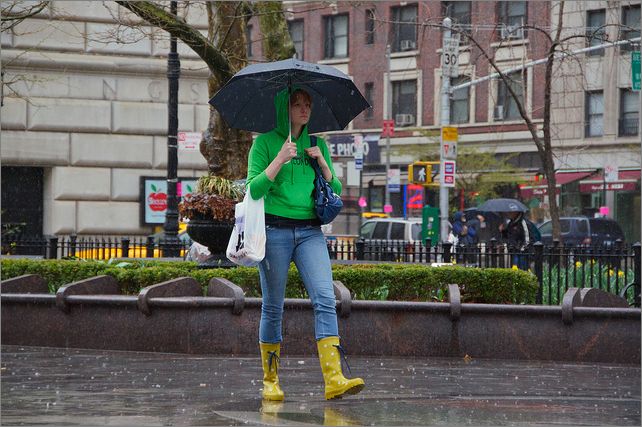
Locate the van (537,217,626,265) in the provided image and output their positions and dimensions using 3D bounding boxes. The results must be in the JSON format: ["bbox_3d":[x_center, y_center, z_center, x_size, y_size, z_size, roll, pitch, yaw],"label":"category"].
[{"bbox_3d":[9.453,1.113,55.296,2.078,2.071,3.901,1,0,-39],"label":"van"}]

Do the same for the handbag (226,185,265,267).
[{"bbox_3d":[-1.634,0.282,31.064,0.819,1.741,0.248,-1,-2,-3],"label":"handbag"}]

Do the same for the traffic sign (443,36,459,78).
[{"bbox_3d":[3.881,-4.767,43.080,0.490,1.156,0.831,-1,-2,1],"label":"traffic sign"}]

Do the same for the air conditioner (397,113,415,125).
[{"bbox_3d":[3.950,-4.444,68.004,0.291,0.592,1.194,1,-3,-38],"label":"air conditioner"}]

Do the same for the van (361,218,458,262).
[{"bbox_3d":[2.408,0.850,47.427,3.708,1.764,1.734,2,0,-15],"label":"van"}]

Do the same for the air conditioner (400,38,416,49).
[{"bbox_3d":[4.006,-7.913,67.076,0.436,0.654,1.319,-1,-2,-12],"label":"air conditioner"}]

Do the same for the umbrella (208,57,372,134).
[{"bbox_3d":[-0.734,-3.084,31.656,4.829,2.305,2.221,-2,0,2],"label":"umbrella"}]
